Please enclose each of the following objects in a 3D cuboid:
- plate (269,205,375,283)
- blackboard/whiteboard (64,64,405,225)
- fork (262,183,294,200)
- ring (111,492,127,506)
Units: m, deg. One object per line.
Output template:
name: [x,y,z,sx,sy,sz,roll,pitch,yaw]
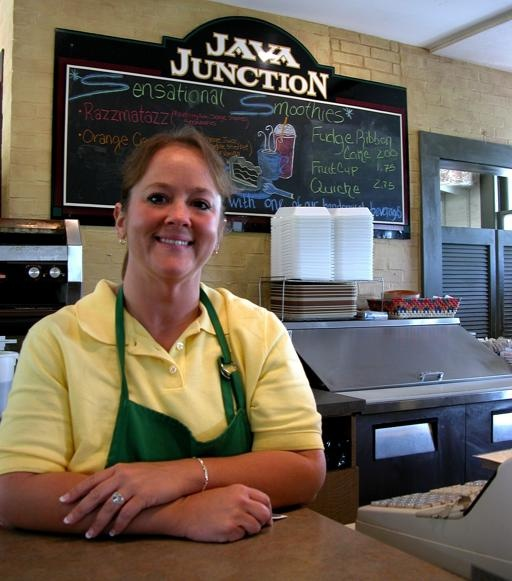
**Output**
plate: [0.379,-0.240,2.903,0.691,0.427,0.391,-1,0,-28]
blackboard/whiteboard: [-0.143,-0.781,2.757,1.594,0.468,0.027,0,-3,-26]
fork: [0.119,-0.605,3.251,0.232,0.059,0.022,14,-9,-29]
ring: [-0.229,0.344,0.871,0.018,0.015,0.022,14,16,43]
